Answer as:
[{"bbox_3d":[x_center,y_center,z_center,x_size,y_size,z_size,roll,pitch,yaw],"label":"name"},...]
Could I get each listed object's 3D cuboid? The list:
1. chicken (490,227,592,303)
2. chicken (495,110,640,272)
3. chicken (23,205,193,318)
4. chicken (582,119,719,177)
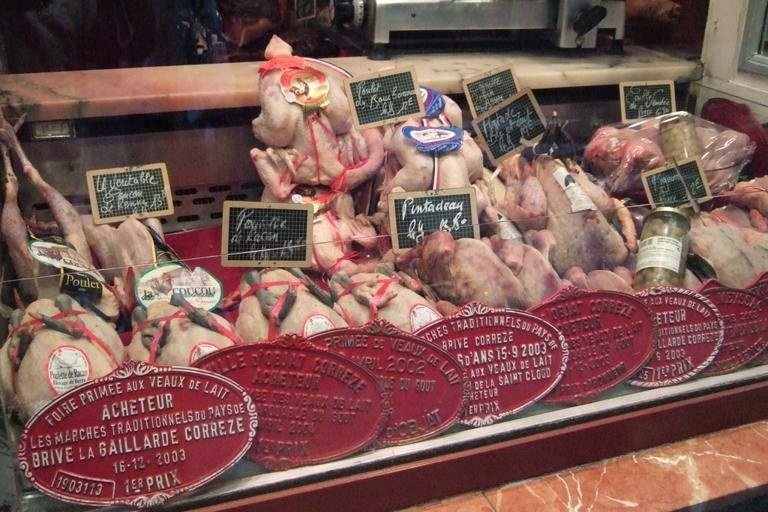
[{"bbox_3d":[0.471,0.033,1.935,0.186,0.189,0.078,-33,-2,-18],"label":"chicken"},{"bbox_3d":[0.589,-0.170,2.167,0.374,0.185,0.527,-14,65,-18],"label":"chicken"},{"bbox_3d":[-0.718,0.002,1.812,0.315,0.143,0.368,-29,65,-31],"label":"chicken"},{"bbox_3d":[0.933,-0.375,2.269,0.328,0.117,0.249,-25,11,10],"label":"chicken"}]
